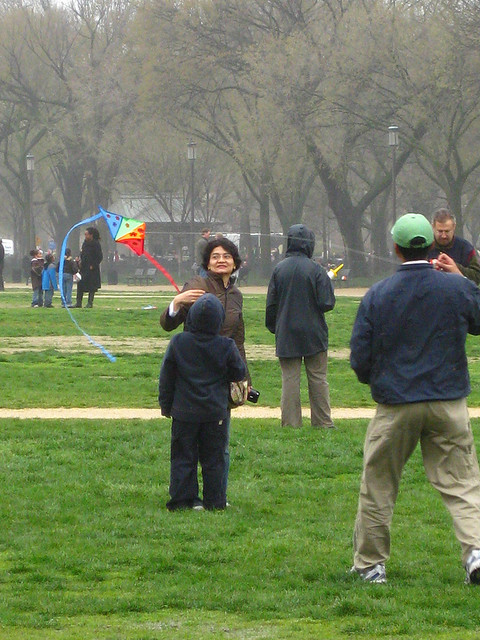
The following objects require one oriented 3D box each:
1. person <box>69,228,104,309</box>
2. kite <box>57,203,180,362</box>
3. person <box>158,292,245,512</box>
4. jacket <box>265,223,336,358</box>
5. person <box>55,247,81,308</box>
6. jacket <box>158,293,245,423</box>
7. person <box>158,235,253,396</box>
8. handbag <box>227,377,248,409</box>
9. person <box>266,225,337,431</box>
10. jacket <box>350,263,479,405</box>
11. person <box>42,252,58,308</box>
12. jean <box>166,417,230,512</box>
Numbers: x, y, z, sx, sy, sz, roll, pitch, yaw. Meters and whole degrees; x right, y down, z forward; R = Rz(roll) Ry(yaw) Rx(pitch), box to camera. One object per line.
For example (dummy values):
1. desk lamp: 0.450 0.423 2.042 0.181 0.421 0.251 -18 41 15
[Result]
1. person: -2.869 -0.927 31.336 0.442 1.543 0.469 -3 -13 19
2. kite: -1.889 -0.744 25.558 1.762 0.607 2.827 7 38 -2
3. person: -0.319 0.678 13.856 0.695 1.781 0.256 -1 8 -6
4. jacket: 0.606 -0.291 16.700 0.674 1.289 0.363 1 8 6
5. person: -3.412 -0.753 32.781 0.361 1.241 0.350 -1 -17 6
6. jacket: -0.315 0.309 13.835 0.714 1.049 0.306 0 8 0
7. person: -0.241 0.250 14.378 0.733 1.871 0.457 -9 16 -29
8. handbag: -0.012 0.618 13.995 0.140 0.254 0.202 2 -11 -5
9. person: 0.620 0.081 16.786 0.691 2.060 0.493 0 8 0
10. jacket: 1.324 0.068 12.670 0.690 1.223 0.832 1 6 0
11. person: -3.750 -0.801 32.599 0.367 1.274 0.382 -1 -18 -4
12. jean: -0.353 1.177 13.944 0.526 0.763 0.164 -2 8 -10
